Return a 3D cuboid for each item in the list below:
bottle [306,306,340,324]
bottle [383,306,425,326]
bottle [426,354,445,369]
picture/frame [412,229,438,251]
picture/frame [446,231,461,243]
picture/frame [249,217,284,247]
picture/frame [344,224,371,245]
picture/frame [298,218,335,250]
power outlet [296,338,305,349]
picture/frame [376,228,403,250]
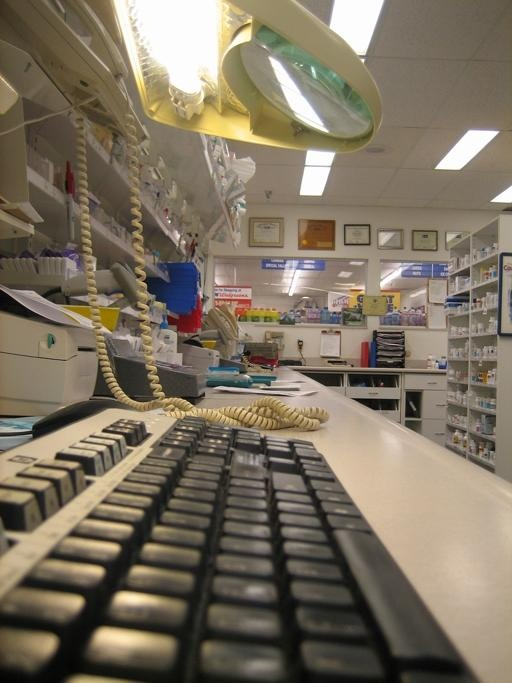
[{"bbox_3d":[0.743,-0.295,5.394,0.506,0.199,0.235,0,0,30],"label":"bottle"},{"bbox_3d":[1.697,-0.280,5.438,0.587,0.144,0.353,0,0,-12],"label":"bottle"},{"bbox_3d":[1.936,0.188,4.972,0.176,0.060,0.170,1,14,0],"label":"bottle"},{"bbox_3d":[1.908,-1.173,5.279,0.244,0.208,0.026,1,4,-5],"label":"picture/frame"},{"bbox_3d":[2.245,-1.221,5.304,0.145,0.132,0.040,0,1,15],"label":"picture/frame"},{"bbox_3d":[0.123,-1.265,5.295,0.341,0.301,0.034,1,-3,-1],"label":"picture/frame"},{"bbox_3d":[1.157,-1.238,5.273,0.240,0.203,0.021,1,8,0],"label":"picture/frame"},{"bbox_3d":[0.688,-1.240,5.283,0.358,0.304,0.037,1,2,1],"label":"picture/frame"},{"bbox_3d":[0.492,0.030,5.226,0.080,0.115,0.032,0,0,-9],"label":"power outlet"},{"bbox_3d":[1.520,-1.193,5.282,0.243,0.208,0.024,1,0,0],"label":"picture/frame"}]
